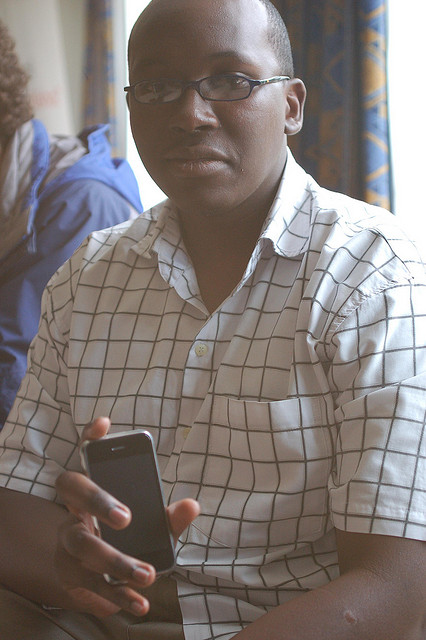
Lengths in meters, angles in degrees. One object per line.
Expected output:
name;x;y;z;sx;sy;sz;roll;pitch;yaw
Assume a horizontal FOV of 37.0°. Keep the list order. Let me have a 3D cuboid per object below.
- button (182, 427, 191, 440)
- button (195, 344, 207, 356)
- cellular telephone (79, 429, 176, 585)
button;-0.040;0.165;0.924;0.004;0.013;0.015;28;-23;-28
button;-0.017;0.044;0.939;0.016;0.014;0.009;-6;22;-3
cellular telephone;-0.096;0.208;0.722;0.081;0.140;0.102;-10;22;-12
